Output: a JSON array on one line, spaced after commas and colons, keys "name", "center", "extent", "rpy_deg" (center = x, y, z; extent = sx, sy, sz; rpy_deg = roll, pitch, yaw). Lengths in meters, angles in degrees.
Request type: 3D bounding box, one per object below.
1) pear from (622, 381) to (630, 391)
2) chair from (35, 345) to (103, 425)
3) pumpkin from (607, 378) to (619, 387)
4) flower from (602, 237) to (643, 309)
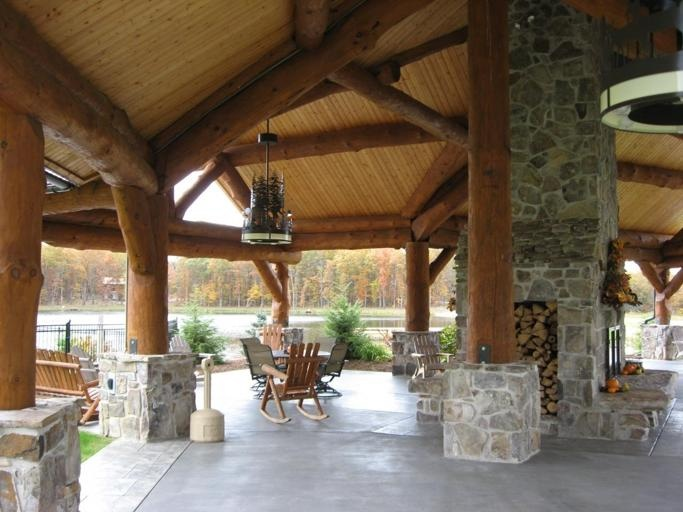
[{"name": "pear", "center": [3.984, 1.833, 8.068], "extent": [0.111, 0.149, 0.110], "rpy_deg": [1, -1, -44]}, {"name": "chair", "center": [-3.872, 1.697, 8.040], "extent": [1.158, 0.807, 0.475], "rpy_deg": [-6, -9, 27]}, {"name": "pumpkin", "center": [3.800, 1.786, 8.081], "extent": [0.141, 0.139, 0.139], "rpy_deg": [4, -10, -24]}, {"name": "flower", "center": [4.163, 0.249, 8.667], "extent": [0.447, 1.055, 1.155], "rpy_deg": [-6, -9, 27]}]
